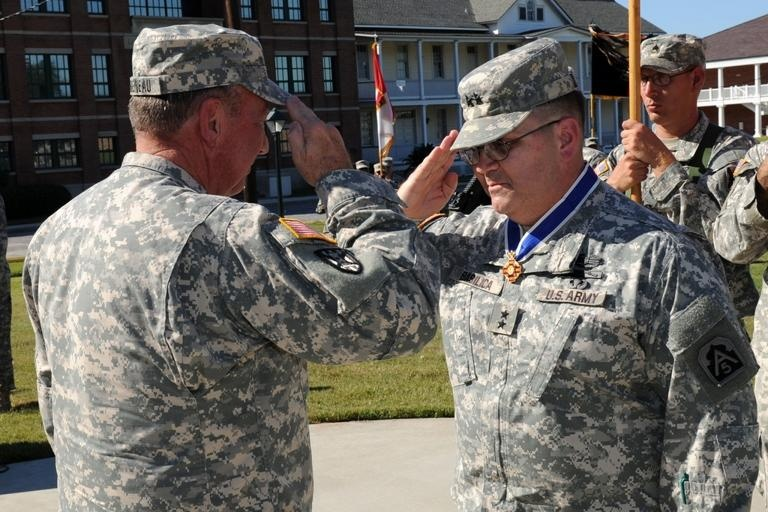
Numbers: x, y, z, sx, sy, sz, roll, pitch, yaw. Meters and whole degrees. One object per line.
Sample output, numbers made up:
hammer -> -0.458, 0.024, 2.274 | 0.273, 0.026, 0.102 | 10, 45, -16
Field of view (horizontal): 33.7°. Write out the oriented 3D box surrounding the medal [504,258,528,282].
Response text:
medal -> 0.769, 0.085, 7.346 | 0.135, 0.184, 0.026 | -3, -17, 19

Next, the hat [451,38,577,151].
hat -> 0.719, -0.939, 7.403 | 0.786, 0.347, 0.518 | -26, 7, -14

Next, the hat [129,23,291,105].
hat -> -1.034, -1.113, 7.453 | 0.998, 0.458, 0.645 | -9, 11, -38

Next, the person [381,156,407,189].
person -> 0.177, -1.413, 21.770 | 0.392, 0.524, 1.218 | 5, 7, -6
